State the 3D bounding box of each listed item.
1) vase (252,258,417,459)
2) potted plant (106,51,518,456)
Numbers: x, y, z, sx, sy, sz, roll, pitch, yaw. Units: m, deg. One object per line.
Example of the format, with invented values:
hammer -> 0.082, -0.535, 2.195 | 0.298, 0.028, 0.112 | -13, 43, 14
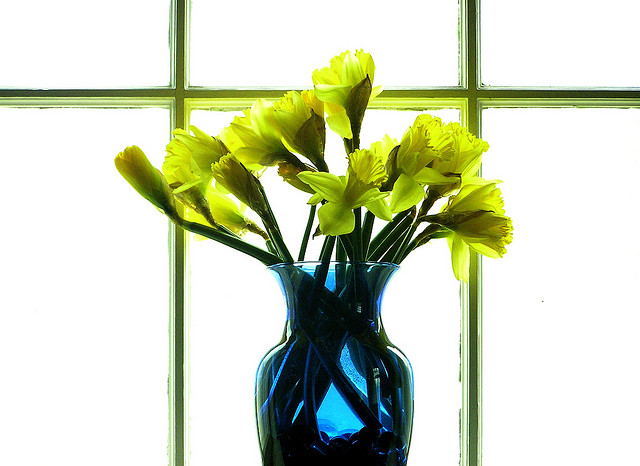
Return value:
vase -> 0.033, 0.260, 1.499 | 0.347, 0.539, 0.324 | 1, -16, -5
potted plant -> 0.027, 0.006, 1.698 | 0.817, 0.903, 0.777 | -6, -8, 40
